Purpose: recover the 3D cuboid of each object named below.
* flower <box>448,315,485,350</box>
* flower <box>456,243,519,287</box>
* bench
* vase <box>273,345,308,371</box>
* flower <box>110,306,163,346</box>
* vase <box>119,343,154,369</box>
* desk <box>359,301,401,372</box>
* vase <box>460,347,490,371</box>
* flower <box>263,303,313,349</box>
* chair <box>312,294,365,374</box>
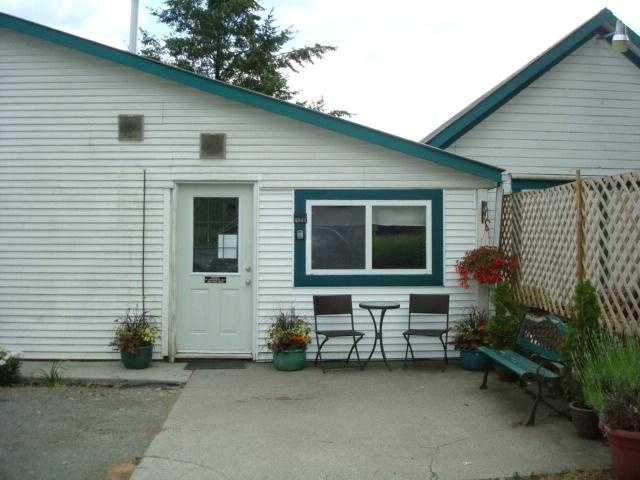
[{"bbox_3d":[2.342,1.412,9.782,0.513,0.590,0.557,2,0,17],"label":"flower"},{"bbox_3d":[2.681,0.426,9.801,0.740,0.517,0.735,2,-3,-40],"label":"flower"},{"bbox_3d":[2.726,1.612,8.196,0.764,1.217,1.633,0,2,-6],"label":"bench"},{"bbox_3d":[-0.465,1.841,9.582,0.366,0.278,0.374,1,-8,-1],"label":"vase"},{"bbox_3d":[-2.804,1.343,9.516,0.592,0.581,0.684,9,14,34],"label":"flower"},{"bbox_3d":[-2.777,1.770,9.337,0.362,0.242,0.368,1,-3,-9],"label":"vase"},{"bbox_3d":[0.939,1.459,9.719,0.866,1.177,0.884,1,-5,-10],"label":"desk"},{"bbox_3d":[2.385,1.825,9.586,0.383,0.313,0.378,5,-8,-37],"label":"vase"},{"bbox_3d":[-0.496,1.444,9.705,0.685,0.487,0.728,-5,12,6],"label":"flower"},{"bbox_3d":[0.285,1.447,9.657,0.779,1.129,0.650,0,9,-1],"label":"chair"}]
